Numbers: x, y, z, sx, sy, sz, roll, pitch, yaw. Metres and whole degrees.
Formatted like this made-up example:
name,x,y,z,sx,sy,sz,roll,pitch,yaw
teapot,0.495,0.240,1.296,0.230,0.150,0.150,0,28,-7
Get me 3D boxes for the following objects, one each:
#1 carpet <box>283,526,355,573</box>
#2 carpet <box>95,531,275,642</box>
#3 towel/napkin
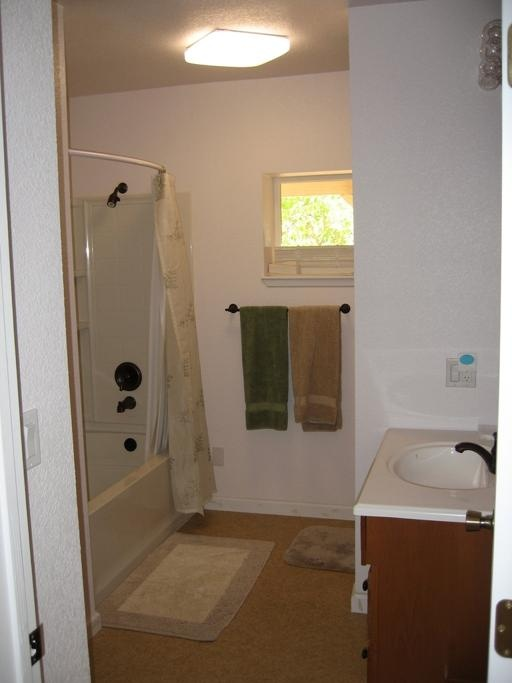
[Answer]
name,x,y,z,sx,sy,sz,roll,pitch,yaw
carpet,0.318,1.028,2.843,0.327,0.016,0.466,0,6,10
carpet,-0.306,1.072,2.514,0.581,0.017,0.720,1,6,17
towel/napkin,0.201,0.126,3.089,0.589,0.823,0.082,0,5,15
